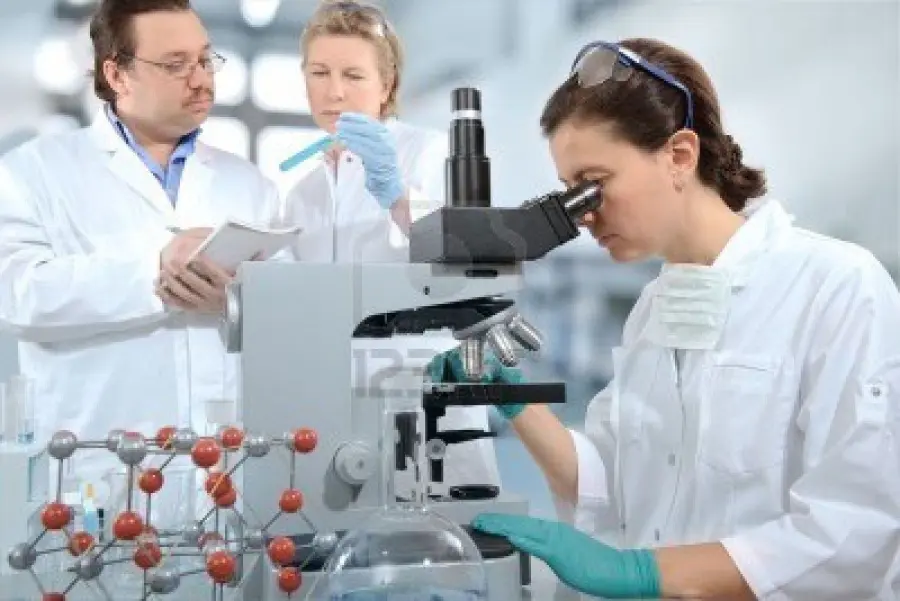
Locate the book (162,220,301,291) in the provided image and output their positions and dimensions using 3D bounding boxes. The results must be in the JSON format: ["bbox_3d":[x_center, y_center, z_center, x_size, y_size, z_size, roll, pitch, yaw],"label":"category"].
[{"bbox_3d":[-0.736,-0.147,4.645,0.512,0.071,0.542,-11,-11,-19],"label":"book"}]

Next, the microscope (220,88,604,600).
[{"bbox_3d":[-0.104,0.112,4.127,0.685,1.457,0.860,0,0,43],"label":"microscope"}]

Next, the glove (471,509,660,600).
[{"bbox_3d":[0.268,0.748,4.171,0.636,0.164,0.216,14,15,-7],"label":"glove"}]

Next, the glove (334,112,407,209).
[{"bbox_3d":[-0.305,-0.502,5.165,0.248,0.164,0.341,-20,-46,8],"label":"glove"}]
